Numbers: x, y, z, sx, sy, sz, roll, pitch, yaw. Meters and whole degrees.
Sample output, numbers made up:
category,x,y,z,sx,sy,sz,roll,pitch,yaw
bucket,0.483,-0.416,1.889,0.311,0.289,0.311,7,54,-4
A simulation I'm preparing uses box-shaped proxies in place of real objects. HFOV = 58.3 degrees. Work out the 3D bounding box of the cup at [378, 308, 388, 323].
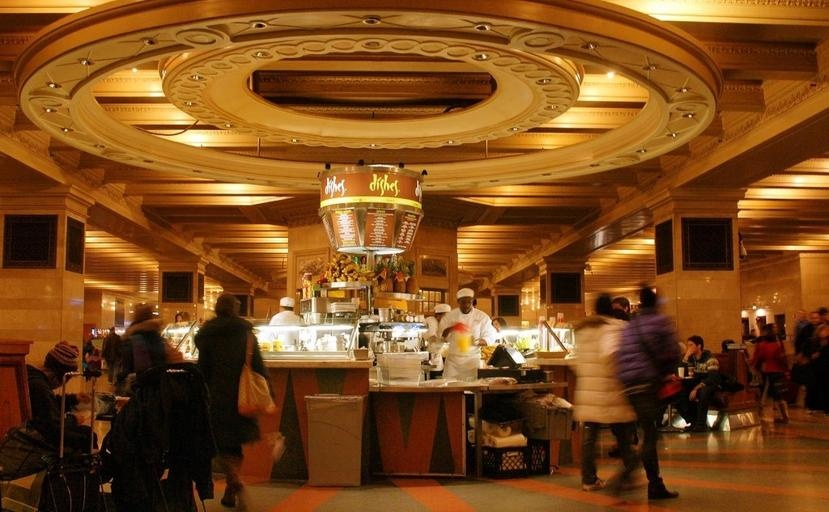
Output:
category,x,y,z,sx,sy,sz,roll,pitch,yaw
cup,-0.442,0.857,10.778,0.164,0.199,0.191,-2,-10,-2

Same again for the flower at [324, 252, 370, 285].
category,x,y,z,sx,sy,sz,roll,pitch,yaw
flower,-0.961,0.184,10.952,0.589,0.212,0.535,7,-15,-29

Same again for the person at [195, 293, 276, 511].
category,x,y,z,sx,sy,sz,roll,pitch,yaw
person,-2.038,1.601,8.314,0.802,2.416,0.402,1,-12,-14

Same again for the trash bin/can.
category,x,y,z,sx,sy,sz,roll,pitch,yaw
trash bin/can,-0.996,2.307,9.240,0.674,1.117,0.291,-1,-12,-8

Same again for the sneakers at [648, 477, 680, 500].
category,x,y,z,sx,sy,sz,roll,pitch,yaw
sneakers,2.818,2.698,8.622,0.505,0.258,0.167,-1,-3,-14

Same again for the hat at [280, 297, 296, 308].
category,x,y,z,sx,sy,sz,roll,pitch,yaw
hat,-2.079,0.754,12.212,0.336,0.134,0.393,1,-7,-2

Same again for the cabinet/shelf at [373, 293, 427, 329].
category,x,y,z,sx,sy,sz,roll,pitch,yaw
cabinet/shelf,-0.274,0.881,12.101,0.714,0.285,0.931,-1,-11,9

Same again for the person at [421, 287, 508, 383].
category,x,y,z,sx,sy,sz,roll,pitch,yaw
person,0.750,1.158,11.246,0.939,1.395,1.269,-3,-11,5

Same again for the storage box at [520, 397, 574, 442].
category,x,y,z,sx,sy,sz,roll,pitch,yaw
storage box,1.747,2.099,10.036,0.671,0.527,0.854,1,-4,-21

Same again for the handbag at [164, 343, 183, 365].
category,x,y,z,sx,sy,sz,roll,pitch,yaw
handbag,-2.555,1.024,7.871,0.216,0.169,0.218,-17,-20,39

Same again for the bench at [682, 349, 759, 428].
category,x,y,z,sx,sy,sz,roll,pitch,yaw
bench,5.577,2.384,13.415,1.649,1.238,1.450,1,-9,-7

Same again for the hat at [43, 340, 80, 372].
category,x,y,z,sx,sy,sz,roll,pitch,yaw
hat,-3.823,1.110,8.208,0.463,0.331,0.321,3,0,-26

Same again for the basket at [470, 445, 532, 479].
category,x,y,z,sx,sy,sz,roll,pitch,yaw
basket,1.148,2.679,9.656,0.581,0.274,0.501,-1,-11,1

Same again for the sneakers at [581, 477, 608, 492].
category,x,y,z,sx,sy,sz,roll,pitch,yaw
sneakers,2.174,2.772,9.023,0.388,0.124,0.129,-2,-1,-17
